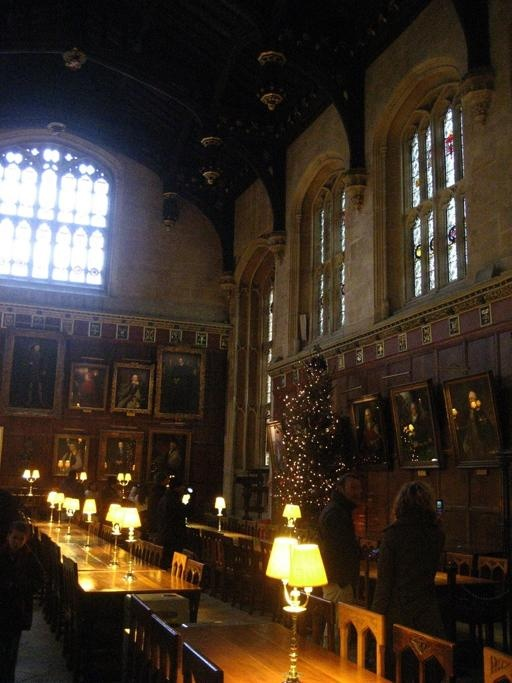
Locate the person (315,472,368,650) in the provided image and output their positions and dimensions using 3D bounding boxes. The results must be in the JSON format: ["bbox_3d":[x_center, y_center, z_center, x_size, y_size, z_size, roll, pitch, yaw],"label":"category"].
[{"bbox_3d":[0.514,1.309,4.667,0.284,0.845,0.452,-5,-12,24],"label":"person"}]

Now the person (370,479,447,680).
[{"bbox_3d":[0.794,1.189,3.596,0.404,0.921,0.330,2,-11,-7],"label":"person"}]
